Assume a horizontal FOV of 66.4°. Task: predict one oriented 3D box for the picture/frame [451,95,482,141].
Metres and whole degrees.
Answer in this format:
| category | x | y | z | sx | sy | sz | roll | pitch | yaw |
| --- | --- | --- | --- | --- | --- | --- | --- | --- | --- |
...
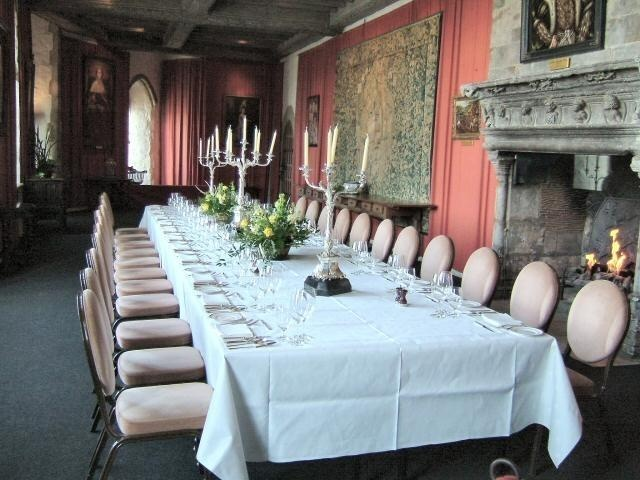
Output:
| category | x | y | z | sx | sy | sz | roll | pitch | yaw |
| --- | --- | --- | --- | --- | --- | --- | --- | --- | --- |
| picture/frame | 2.075 | -1.721 | 6.871 | 0.055 | 0.843 | 0.666 | -4 | 8 | -30 |
